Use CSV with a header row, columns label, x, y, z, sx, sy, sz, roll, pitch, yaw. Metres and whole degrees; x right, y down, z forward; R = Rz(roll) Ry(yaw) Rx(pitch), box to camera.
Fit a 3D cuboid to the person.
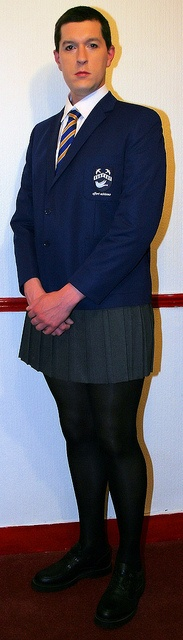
label,x,y,z,sx,sy,sz,roll,pitch,yaw
person,0.006,-0.045,1.135,0.390,1.373,0.642,-15,28,-31
